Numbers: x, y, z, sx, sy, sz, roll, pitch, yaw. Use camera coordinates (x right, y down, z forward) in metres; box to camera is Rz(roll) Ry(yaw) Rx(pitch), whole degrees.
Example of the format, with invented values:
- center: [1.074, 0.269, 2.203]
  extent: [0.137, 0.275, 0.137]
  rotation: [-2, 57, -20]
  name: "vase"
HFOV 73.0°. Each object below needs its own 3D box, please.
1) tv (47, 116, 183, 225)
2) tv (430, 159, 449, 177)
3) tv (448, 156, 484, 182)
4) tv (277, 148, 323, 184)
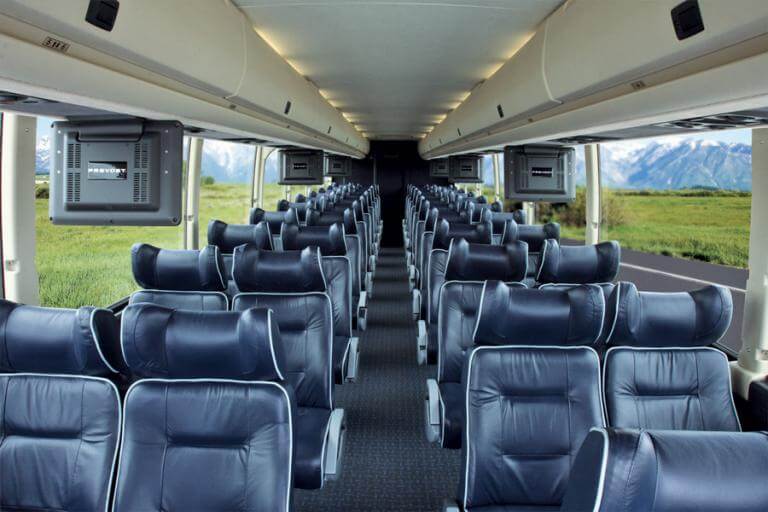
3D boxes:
- center: [-1.846, -0.544, 3.446]
  extent: [0.653, 0.570, 0.093]
  rotation: [0, -2, 3]
  name: "tv"
- center: [1.823, -2.845, 16.905]
  extent: [0.625, 0.671, 0.656]
  rotation: [1, -8, -3]
  name: "tv"
- center: [2.214, -2.348, 13.801]
  extent: [0.902, 0.713, 0.376]
  rotation: [2, 14, 8]
  name: "tv"
- center: [-1.683, -1.738, 9.995]
  extent: [0.705, 0.739, 0.222]
  rotation: [-1, 5, -4]
  name: "tv"
